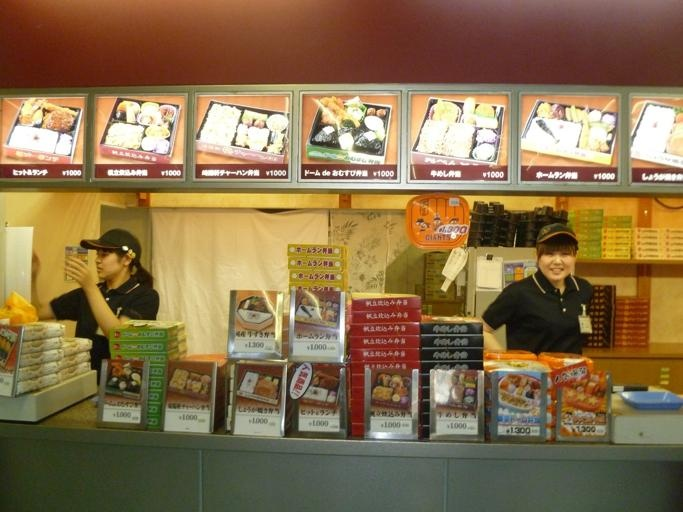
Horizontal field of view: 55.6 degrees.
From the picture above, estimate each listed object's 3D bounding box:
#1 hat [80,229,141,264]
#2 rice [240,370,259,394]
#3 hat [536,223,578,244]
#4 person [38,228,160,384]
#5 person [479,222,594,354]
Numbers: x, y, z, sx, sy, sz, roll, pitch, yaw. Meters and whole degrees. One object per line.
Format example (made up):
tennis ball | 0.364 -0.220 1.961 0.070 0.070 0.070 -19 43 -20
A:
hat | -1.454 -0.080 4.181 0.324 0.168 0.203 24 -6 -29
rice | -0.463 0.635 3.255 0.093 0.119 0.032 1 -11 -3
hat | 1.232 -0.147 3.907 0.206 0.150 0.253 1 -10 1
person | -1.430 0.271 3.957 0.689 0.955 1.205 5 -11 -24
person | 1.129 0.220 4.018 0.593 0.755 0.447 -5 -12 31
